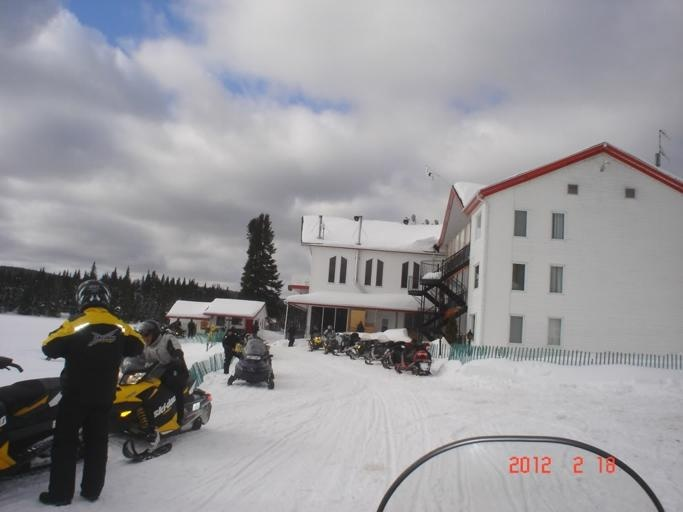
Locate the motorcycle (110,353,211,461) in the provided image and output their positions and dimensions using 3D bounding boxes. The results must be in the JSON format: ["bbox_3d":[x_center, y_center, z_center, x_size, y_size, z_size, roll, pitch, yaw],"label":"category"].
[{"bbox_3d":[-3.052,2.517,8.216,0.731,1.141,1.964,-4,-6,20],"label":"motorcycle"}]

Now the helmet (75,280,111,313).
[{"bbox_3d":[-3.190,0.590,6.516,0.326,0.439,0.427,5,-31,-20],"label":"helmet"}]

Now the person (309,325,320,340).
[{"bbox_3d":[-2.111,5.836,38.122,0.742,0.952,1.964,0,-14,-8],"label":"person"}]

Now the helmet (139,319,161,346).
[{"bbox_3d":[-3.006,1.198,7.862,0.292,0.381,0.355,-5,0,0],"label":"helmet"}]

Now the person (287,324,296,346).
[{"bbox_3d":[-3.631,5.744,36.053,0.406,1.501,0.843,3,-3,-9],"label":"person"}]

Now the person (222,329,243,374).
[{"bbox_3d":[-3.809,3.228,17.491,0.656,1.980,0.672,-2,20,-19],"label":"person"}]

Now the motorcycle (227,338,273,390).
[{"bbox_3d":[-2.591,3.162,14.854,0.905,0.993,1.741,2,-14,-4],"label":"motorcycle"}]
